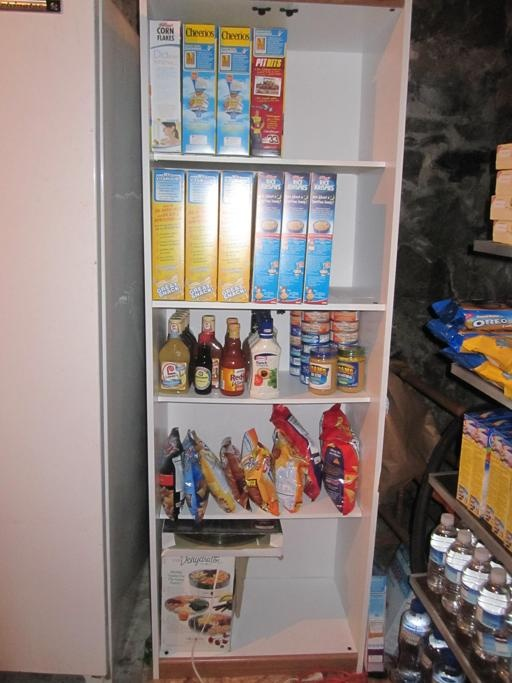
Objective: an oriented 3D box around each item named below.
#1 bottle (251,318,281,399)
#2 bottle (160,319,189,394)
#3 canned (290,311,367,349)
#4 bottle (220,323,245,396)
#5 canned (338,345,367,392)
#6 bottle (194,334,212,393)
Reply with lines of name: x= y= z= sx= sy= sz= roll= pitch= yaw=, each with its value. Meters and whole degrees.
bottle: x=0.024 y=0.037 z=1.747 sx=0.091 sy=0.231 sz=0.163 roll=-1 pitch=14 yaw=-1
bottle: x=-0.252 y=0.038 z=1.739 sx=0.096 sy=0.230 sz=0.119 roll=-2 pitch=14 yaw=-8
canned: x=0.217 y=-0.040 z=1.813 sx=0.192 sy=0.128 sz=0.110 roll=1 pitch=6 yaw=4
bottle: x=-0.072 y=0.045 z=1.751 sx=0.080 sy=0.231 sz=0.153 roll=-1 pitch=14 yaw=-2
canned: x=0.295 y=0.090 z=1.773 sx=0.084 sy=0.141 sz=0.039 roll=0 pitch=14 yaw=2
bottle: x=-0.166 y=0.059 z=1.744 sx=0.058 sy=0.185 sz=0.114 roll=-2 pitch=14 yaw=-6
